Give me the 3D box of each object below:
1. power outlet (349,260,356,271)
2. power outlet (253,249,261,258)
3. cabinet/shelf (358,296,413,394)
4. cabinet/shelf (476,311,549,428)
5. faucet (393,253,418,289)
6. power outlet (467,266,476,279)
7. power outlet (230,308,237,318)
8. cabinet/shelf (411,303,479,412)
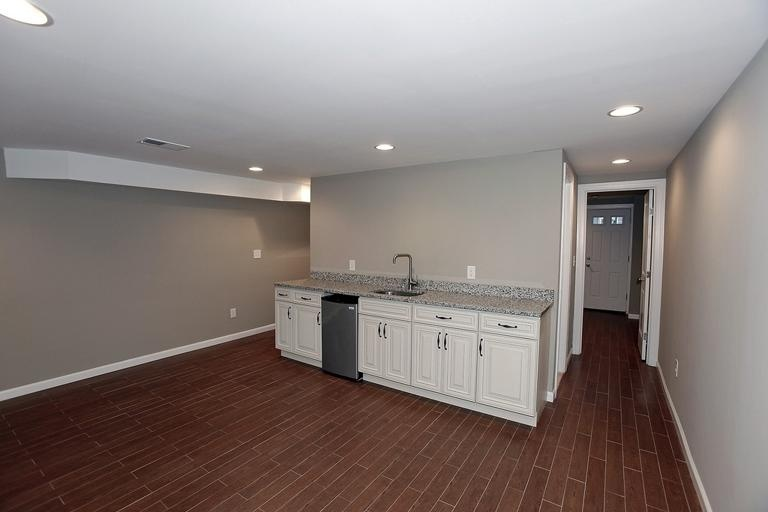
[{"bbox_3d":[-0.410,0.120,5.992,0.127,0.173,0.019,4,10,30],"label":"power outlet"},{"bbox_3d":[-1.908,-0.036,6.907,0.016,0.111,0.122,7,10,33],"label":"power outlet"},{"bbox_3d":[0.132,0.954,5.256,0.730,0.994,0.537,5,7,38],"label":"cabinet/shelf"},{"bbox_3d":[1.338,1.021,4.665,0.612,1.070,0.738,7,12,38],"label":"cabinet/shelf"},{"bbox_3d":[0.257,0.186,5.510,0.253,0.434,0.291,1,3,-15],"label":"faucet"},{"bbox_3d":[0.965,0.179,5.107,0.143,0.201,0.022,-1,-3,39],"label":"power outlet"},{"bbox_3d":[-2.182,0.819,6.656,0.018,0.178,0.159,0,-1,30],"label":"power outlet"},{"bbox_3d":[0.536,1.067,4.906,0.724,0.925,0.614,10,-28,-7],"label":"cabinet/shelf"}]
